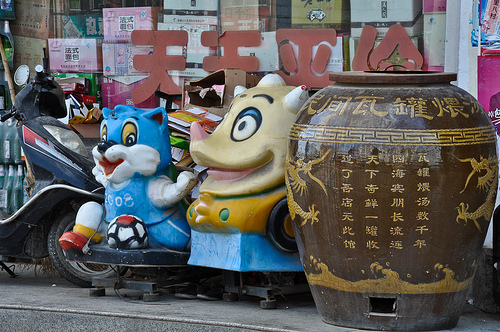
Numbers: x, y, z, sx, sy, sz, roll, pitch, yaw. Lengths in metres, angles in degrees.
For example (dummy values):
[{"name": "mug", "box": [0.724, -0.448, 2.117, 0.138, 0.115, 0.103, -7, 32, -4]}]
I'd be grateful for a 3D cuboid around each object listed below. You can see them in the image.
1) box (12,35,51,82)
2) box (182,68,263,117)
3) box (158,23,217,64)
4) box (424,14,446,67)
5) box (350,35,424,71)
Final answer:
[{"name": "box", "box": [-2.940, -1.482, 9.370, 0.460, 0.562, 0.220, -2, 9, -17]}, {"name": "box", "box": [-0.383, -0.909, 8.072, 0.678, 0.549, 0.910, 7, -11, -31]}, {"name": "box", "box": [-0.803, -1.589, 8.948, 0.768, 0.496, 0.222, 1, 9, -2]}, {"name": "box", "box": [2.128, -1.468, 8.071, 0.244, 0.585, 0.118, 5, 10, 21]}, {"name": "box", "box": [1.645, -1.339, 8.213, 0.879, 0.704, 0.277, 1, 7, 14]}]
